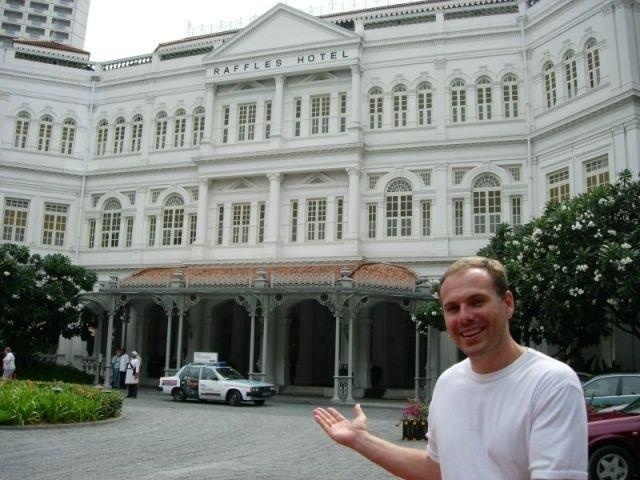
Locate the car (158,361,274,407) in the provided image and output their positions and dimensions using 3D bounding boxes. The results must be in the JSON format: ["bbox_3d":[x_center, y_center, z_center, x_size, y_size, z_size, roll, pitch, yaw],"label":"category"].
[{"bbox_3d":[-3.753,5.574,24.551,3.647,1.017,1.808,-6,-14,29],"label":"car"}]

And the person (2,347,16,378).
[{"bbox_3d":[-12.135,4.798,24.754,0.405,1.222,2.458,7,-13,-25],"label":"person"}]
